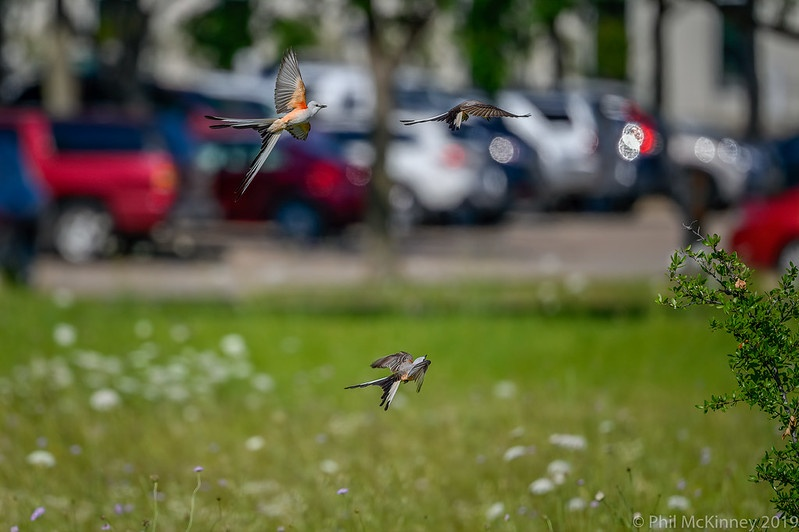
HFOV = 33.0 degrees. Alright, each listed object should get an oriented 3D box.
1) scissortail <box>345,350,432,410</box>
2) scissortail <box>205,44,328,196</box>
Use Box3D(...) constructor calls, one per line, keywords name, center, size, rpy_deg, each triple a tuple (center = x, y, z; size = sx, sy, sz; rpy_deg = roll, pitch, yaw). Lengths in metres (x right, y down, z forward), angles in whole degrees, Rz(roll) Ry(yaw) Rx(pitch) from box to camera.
Box3D(name="scissortail", center=(-0.061, 0.590, 6.749), size=(0.389, 0.177, 0.445), rpy_deg=(4, 16, 6))
Box3D(name="scissortail", center=(-0.594, -0.763, 6.956), size=(0.581, 0.819, 0.300), rpy_deg=(-7, 57, -13))
